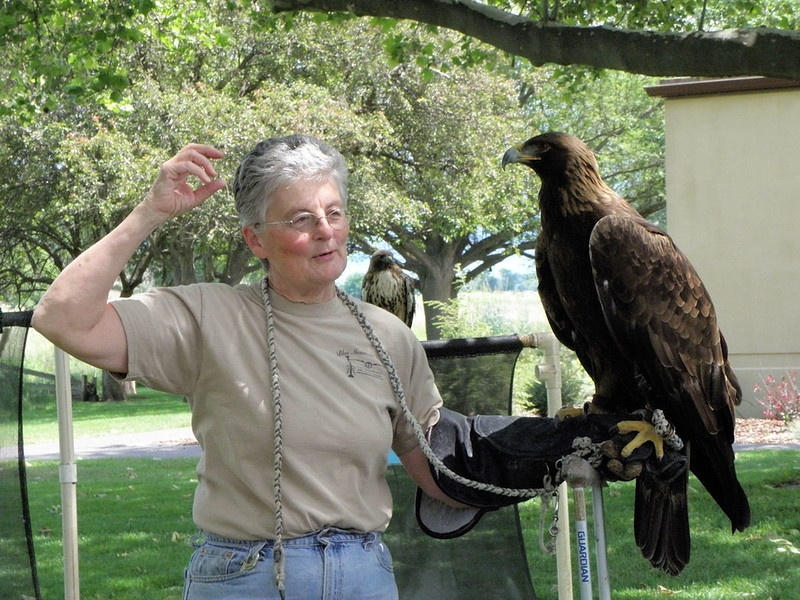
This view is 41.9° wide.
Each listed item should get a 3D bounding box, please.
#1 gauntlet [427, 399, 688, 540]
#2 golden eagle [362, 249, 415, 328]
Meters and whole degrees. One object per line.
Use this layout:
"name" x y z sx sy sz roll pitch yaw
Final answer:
"gauntlet" 0.882 1.060 6.724 1.353 0.590 0.860 -1 -4 -2
"golden eagle" -0.057 -0.047 11.697 0.552 0.877 0.792 0 28 2
